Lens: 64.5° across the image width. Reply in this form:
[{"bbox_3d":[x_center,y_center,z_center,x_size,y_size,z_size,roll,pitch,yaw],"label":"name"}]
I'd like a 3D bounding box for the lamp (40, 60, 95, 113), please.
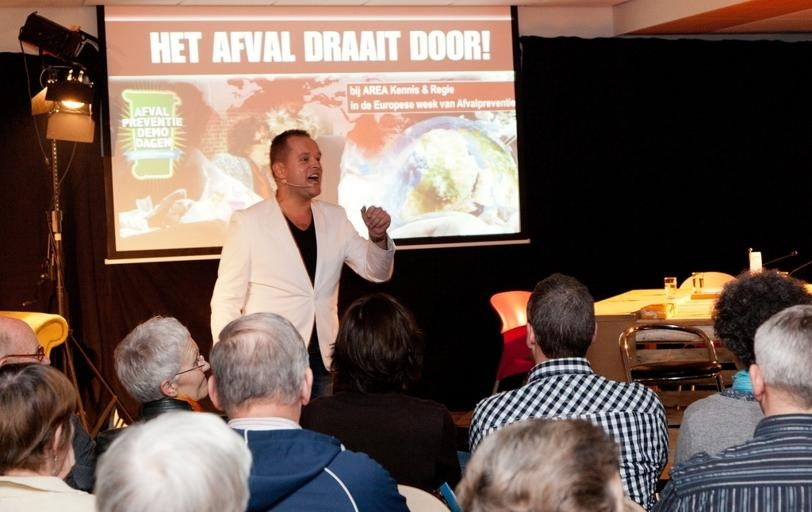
[{"bbox_3d":[-2.458,-1.217,4.679,0.309,0.331,0.409,-4,5,-29],"label":"lamp"}]

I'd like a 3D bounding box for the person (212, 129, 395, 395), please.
[{"bbox_3d":[-0.598,0.417,3.720,1.065,2.087,0.778,-1,7,-18],"label":"person"}]

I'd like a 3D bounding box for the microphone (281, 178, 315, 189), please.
[{"bbox_3d":[-0.612,-0.408,3.612,0.176,0.046,0.038,0,5,20],"label":"microphone"}]

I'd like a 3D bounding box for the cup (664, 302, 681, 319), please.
[{"bbox_3d":[1.814,0.370,4.391,0.130,0.112,0.088,1,8,17],"label":"cup"}]

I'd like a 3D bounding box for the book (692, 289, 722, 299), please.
[{"bbox_3d":[2.133,0.269,4.587,0.196,0.043,0.174,-1,0,-6],"label":"book"}]
